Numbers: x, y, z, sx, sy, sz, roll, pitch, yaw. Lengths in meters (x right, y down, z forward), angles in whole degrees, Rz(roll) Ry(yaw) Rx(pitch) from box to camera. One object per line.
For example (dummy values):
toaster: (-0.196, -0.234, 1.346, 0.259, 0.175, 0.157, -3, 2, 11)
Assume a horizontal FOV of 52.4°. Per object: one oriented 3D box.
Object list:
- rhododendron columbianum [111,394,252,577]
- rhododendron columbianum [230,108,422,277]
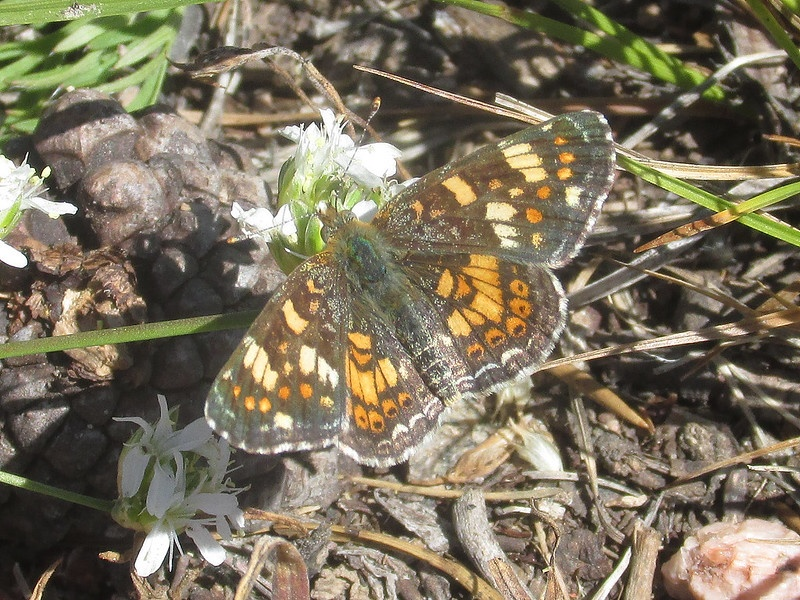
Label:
rhododendron columbianum: (-0.962, 0.825, 3.584, 0.759, 0.402, 0.712, 11, 71, -11)
rhododendron columbianum: (-0.368, -0.409, 3.852, 0.780, 0.377, 0.763, 44, 77, 3)
